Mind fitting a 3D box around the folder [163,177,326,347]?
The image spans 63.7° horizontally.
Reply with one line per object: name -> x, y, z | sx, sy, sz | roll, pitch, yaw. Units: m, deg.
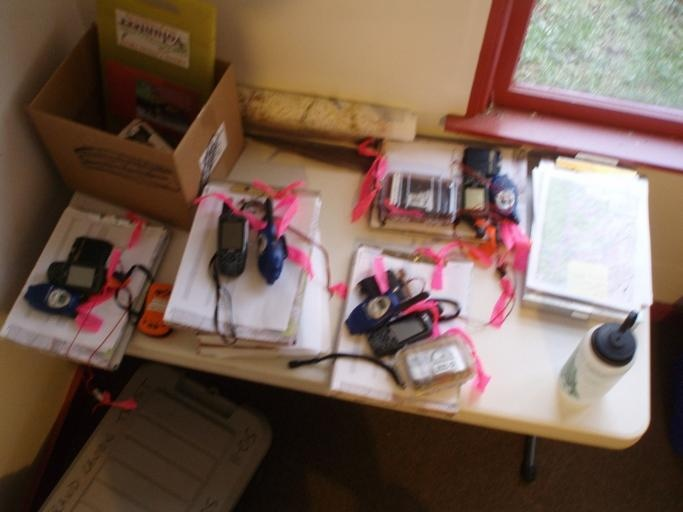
folder -> -0.217, 0.000, 1.287 | 0.297, 0.195, 0.359 | 10, 46, 3

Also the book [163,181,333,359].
book -> -0.215, 0.042, 1.272 | 0.333, 0.104, 0.359 | -1, 78, -2

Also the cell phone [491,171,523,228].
cell phone -> 0.420, -0.142, 1.406 | 0.068, 0.035, 0.124 | -12, 78, 10

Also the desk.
desk -> 0.381, 0.174, 1.854 | 1.200, 0.608, 0.648 | 11, 86, 1

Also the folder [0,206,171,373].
folder -> -0.604, 0.080, 1.366 | 0.350, 0.089, 0.388 | 20, 70, 6

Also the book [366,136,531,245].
book -> 0.291, -0.183, 1.443 | 0.347, 0.107, 0.262 | 6, 77, 2

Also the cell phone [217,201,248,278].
cell phone -> -0.256, -0.065, 1.286 | 0.069, 0.156, 0.052 | 0, 59, -14

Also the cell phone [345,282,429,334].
cell phone -> 0.114, 0.124, 1.325 | 0.205, 0.068, 0.066 | -21, 70, 0

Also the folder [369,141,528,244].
folder -> 0.291, -0.185, 1.444 | 0.344, 0.107, 0.261 | 5, 81, 3

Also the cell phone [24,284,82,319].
cell phone -> -0.680, 0.105, 1.309 | 0.127, 0.033, 0.079 | 15, 58, -11

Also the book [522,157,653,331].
book -> 0.626, -0.040, 1.384 | 0.312, 0.101, 0.397 | 11, 75, 7

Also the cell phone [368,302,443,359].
cell phone -> 0.147, 0.180, 1.281 | 0.169, 0.036, 0.084 | -29, 65, -8

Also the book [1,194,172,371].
book -> -0.606, 0.065, 1.384 | 0.327, 0.095, 0.413 | 23, 69, 6
